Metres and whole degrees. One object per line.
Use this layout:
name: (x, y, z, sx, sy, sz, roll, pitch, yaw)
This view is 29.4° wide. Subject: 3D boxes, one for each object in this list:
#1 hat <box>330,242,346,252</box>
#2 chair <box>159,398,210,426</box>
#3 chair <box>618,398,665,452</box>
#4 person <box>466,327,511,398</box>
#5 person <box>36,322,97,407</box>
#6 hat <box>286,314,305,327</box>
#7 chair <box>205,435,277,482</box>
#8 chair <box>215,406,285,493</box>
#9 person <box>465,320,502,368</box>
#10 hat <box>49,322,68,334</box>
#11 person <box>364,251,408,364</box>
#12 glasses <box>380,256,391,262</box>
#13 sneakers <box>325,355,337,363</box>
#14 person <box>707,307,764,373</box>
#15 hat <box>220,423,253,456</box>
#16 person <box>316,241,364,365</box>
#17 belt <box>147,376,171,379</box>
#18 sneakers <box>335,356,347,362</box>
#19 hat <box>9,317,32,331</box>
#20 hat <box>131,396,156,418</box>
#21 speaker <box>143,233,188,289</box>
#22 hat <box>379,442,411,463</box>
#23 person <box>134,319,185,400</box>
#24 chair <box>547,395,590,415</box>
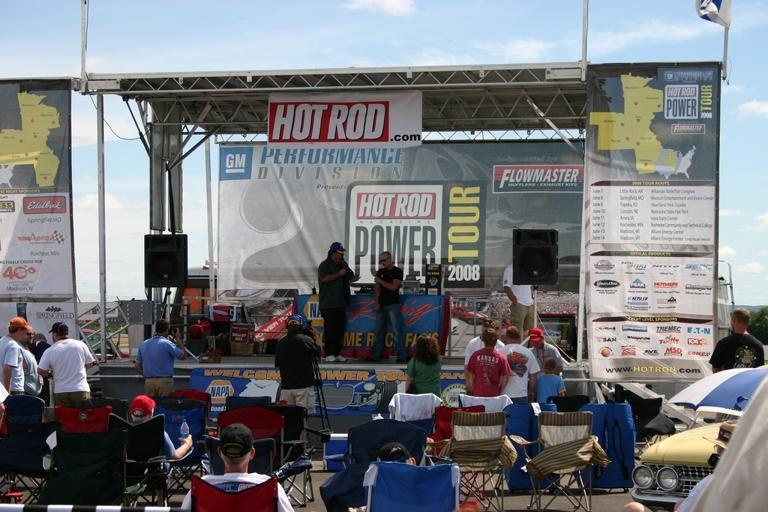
hat: (-0.852, -0.156, 26.928, 0.230, 0.122, 0.168, -1, 4, 2)
chair: (-3.002, 2.368, 22.178, 0.486, 0.619, 0.518, 1, -3, 6)
chair: (4.118, 2.639, 23.500, 0.850, 1.033, 0.854, -1, -11, 9)
person: (1.618, 1.683, 23.237, 0.726, 1.068, 0.538, 0, -1, 14)
person: (-5.130, 1.751, 23.618, 0.780, 1.290, 0.276, 0, -1, -12)
hat: (-1.439, 1.071, 24.078, 0.244, 0.188, 0.253, 1, -7, -25)
chair: (-2.047, 2.897, 21.088, 0.674, 0.940, 0.739, 1, -3, -1)
chair: (-1.844, 2.707, 21.449, 1.011, 1.213, 0.930, 0, 0, 5)
person: (1.672, 1.474, 24.273, 0.713, 0.864, 0.311, 7, -10, -4)
hat: (-5.227, 1.184, 23.724, 0.196, 0.138, 0.274, -3, 9, -29)
person: (0.075, 0.931, 26.681, 0.601, 1.984, 0.334, 0, -1, 1)
glasses: (0.035, 0.056, 26.671, 0.190, 0.096, 0.145, 0, -1, 0)
sneakers: (-0.964, 1.881, 26.636, 0.163, 0.104, 0.111, -2, -2, 9)
person: (5.474, 1.314, 22.797, 0.809, 0.981, 0.533, 0, -1, 12)
hat: (-1.941, 2.448, 19.289, 0.336, 0.260, 0.467, 2, 19, -1)
person: (-0.860, 0.852, 26.809, 0.617, 2.107, 0.325, 0, -1, -12)
belt: (-3.675, 1.995, 24.081, 0.363, 0.039, 0.060, 0, -1, -10)
sneakers: (-0.775, 1.883, 26.741, 0.133, 0.127, 0.106, 4, 1, 29)
hat: (-5.838, 1.109, 23.732, 0.359, 0.193, 0.255, 3, 2, -40)
hat: (-3.514, 2.207, 21.522, 0.265, 0.195, 0.350, 1, 12, -4)
speaker: (-3.750, 0.093, 25.375, 0.988, 1.119, 0.371, -1, -6, 5)
hat: (0.135, 2.756, 20.564, 0.393, 0.405, 0.260, 5, 6, -12)
person: (-3.679, 1.689, 24.132, 0.782, 1.236, 0.489, 0, -1, -10)
chair: (2.905, 2.318, 22.833, 0.423, 0.267, 0.392, 3, 2, 10)
